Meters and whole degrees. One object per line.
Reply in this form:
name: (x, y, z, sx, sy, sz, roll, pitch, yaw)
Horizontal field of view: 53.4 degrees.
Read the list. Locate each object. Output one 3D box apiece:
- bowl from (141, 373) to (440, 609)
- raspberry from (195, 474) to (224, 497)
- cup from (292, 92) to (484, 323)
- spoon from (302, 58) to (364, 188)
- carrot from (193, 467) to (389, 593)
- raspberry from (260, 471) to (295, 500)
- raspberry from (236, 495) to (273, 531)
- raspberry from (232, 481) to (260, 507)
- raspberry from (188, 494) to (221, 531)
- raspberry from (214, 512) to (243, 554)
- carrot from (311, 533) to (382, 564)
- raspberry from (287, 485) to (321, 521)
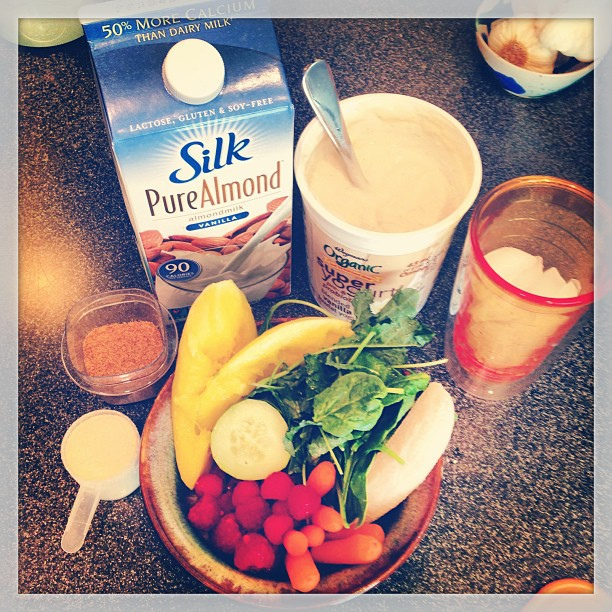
bowl: (-0.029, 0.176, 0.556, 0.278, 0.050, 0.173, 12, 68, 8)
raspberry: (-0.090, 0.165, 0.560, 0.023, 0.022, 0.021, 13, 106, 30)
cup: (0.072, -0.101, 0.691, 0.262, 0.238, 0.225, -5, 69, -3)
spoon: (0.038, -0.169, 0.587, 0.037, 0.138, 0.021, -30, 44, -5)
carrot: (-0.011, 0.208, 0.581, 0.168, 0.050, 0.092, 22, 77, 10)
raspberry: (-0.027, 0.164, 0.550, 0.024, 0.016, 0.029, 38, 80, 1)
raspberry: (-0.046, 0.187, 0.549, 0.034, 0.019, 0.030, -7, 86, -13)
raspberry: (-0.055, 0.171, 0.550, 0.022, 0.014, 0.022, -8, 84, 4)
raspberry: (-0.092, 0.185, 0.545, 0.030, 0.019, 0.029, 4, 81, -6)
raspberry: (-0.070, 0.201, 0.541, 0.029, 0.019, 0.028, 3, 87, -17)
carrot: (0.035, 0.215, 0.532, 0.074, 0.024, 0.024, 0, 64, 22)
raspberry: (-0.003, 0.173, 0.548, 0.030, 0.018, 0.028, -16, 94, -4)
